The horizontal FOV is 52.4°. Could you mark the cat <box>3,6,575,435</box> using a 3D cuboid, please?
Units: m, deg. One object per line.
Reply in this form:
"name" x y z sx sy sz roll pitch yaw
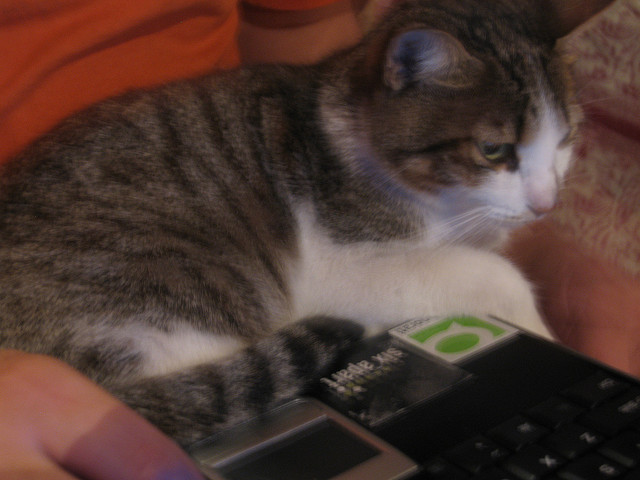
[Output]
"cat" -0.057 -0.032 0.738 0.748 0.293 0.404 5 33 1
